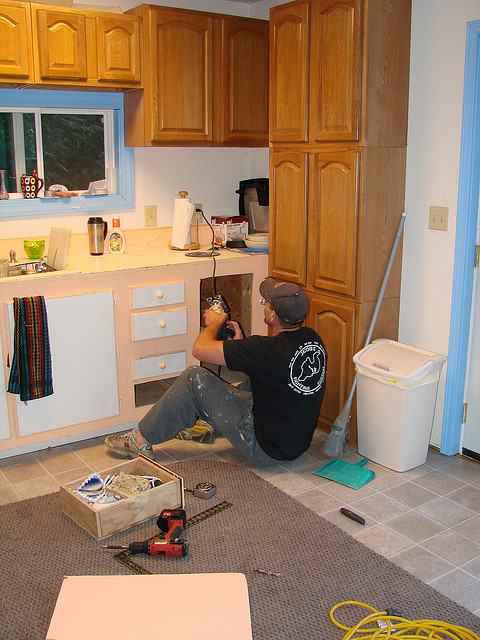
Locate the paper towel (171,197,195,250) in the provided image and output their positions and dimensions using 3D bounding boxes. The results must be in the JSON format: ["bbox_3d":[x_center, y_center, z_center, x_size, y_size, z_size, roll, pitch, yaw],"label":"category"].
[{"bbox_3d":[-0.390,-0.651,3.365,0.195,0.339,0.064,8,11,44],"label":"paper towel"}]

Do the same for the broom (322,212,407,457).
[{"bbox_3d":[0.653,0.079,2.641,0.201,1.295,0.528,8,10,43],"label":"broom"}]

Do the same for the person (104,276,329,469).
[{"bbox_3d":[-0.035,0.272,2.425,0.881,0.947,0.517,4,8,23],"label":"person"}]

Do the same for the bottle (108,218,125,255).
[{"bbox_3d":[-0.812,-0.546,3.264,0.107,0.232,0.232,-1,8,-13],"label":"bottle"}]

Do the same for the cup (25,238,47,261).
[{"bbox_3d":[-1.150,-0.407,2.878,0.124,0.112,0.115,1,12,0],"label":"cup"}]

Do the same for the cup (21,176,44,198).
[{"bbox_3d":[-1.240,-0.787,2.959,0.127,0.124,0.081,-9,23,-42],"label":"cup"}]

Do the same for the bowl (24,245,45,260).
[{"bbox_3d":[-1.173,-0.385,2.841,0.084,0.067,0.085,-1,6,0],"label":"bowl"}]
